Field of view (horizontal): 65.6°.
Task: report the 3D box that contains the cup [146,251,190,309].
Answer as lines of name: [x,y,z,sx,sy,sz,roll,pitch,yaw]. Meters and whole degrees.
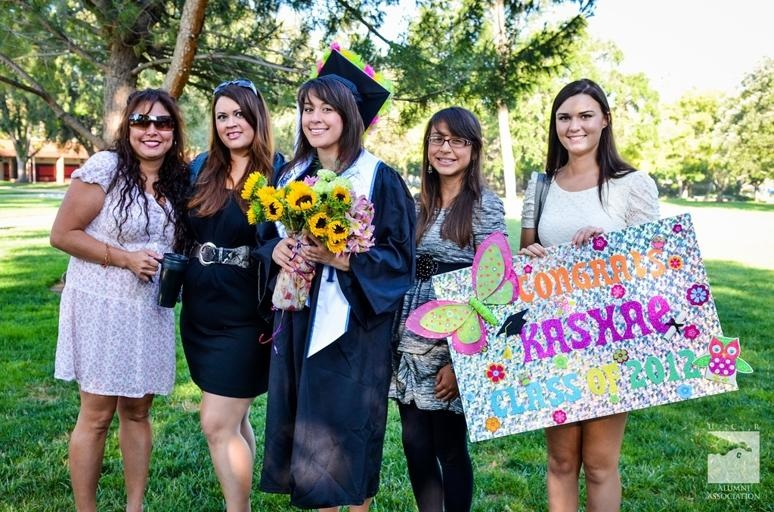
cup: [-1.703,0.180,4.619,0.296,0.447,0.262,2,26,-42]

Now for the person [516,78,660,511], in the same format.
person: [1.474,0.290,4.471,0.972,2.551,0.390,2,-1,12]

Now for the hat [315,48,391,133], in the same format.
hat: [-0.253,-1.297,4.693,0.609,0.625,0.151,36,32,18]

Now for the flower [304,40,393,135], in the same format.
flower: [-0.298,-1.263,4.614,0.639,0.651,0.161,32,14,11]

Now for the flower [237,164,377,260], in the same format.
flower: [-0.559,-0.363,4.265,0.737,0.461,0.677,6,23,-9]

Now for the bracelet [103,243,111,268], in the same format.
bracelet: [-2.134,0.002,4.564,0.053,0.128,0.101,2,9,-3]
